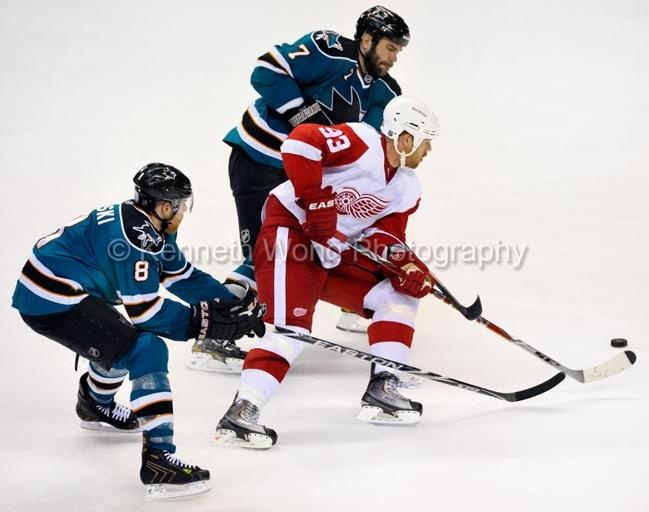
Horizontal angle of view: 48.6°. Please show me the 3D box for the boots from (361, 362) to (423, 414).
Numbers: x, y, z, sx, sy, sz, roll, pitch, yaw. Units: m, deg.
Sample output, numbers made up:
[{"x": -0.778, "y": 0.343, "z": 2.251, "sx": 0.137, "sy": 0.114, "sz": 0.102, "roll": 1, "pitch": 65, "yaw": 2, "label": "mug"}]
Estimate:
[{"x": 0.348, "y": 0.675, "z": 3.643, "sx": 0.291, "sy": 0.211, "sz": 0.188, "roll": 5, "pitch": 13, "yaw": 22, "label": "boots"}]

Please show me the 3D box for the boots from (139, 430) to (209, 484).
[{"x": -0.633, "y": 0.869, "z": 3.022, "sx": 0.330, "sy": 0.216, "sz": 0.113, "roll": 12, "pitch": -22, "yaw": -36, "label": "boots"}]

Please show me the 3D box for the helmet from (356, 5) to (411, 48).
[{"x": 0.334, "y": -1.332, "z": 4.257, "sx": 0.291, "sy": 0.262, "sz": 0.230, "roll": 20, "pitch": 19, "yaw": 24, "label": "helmet"}]

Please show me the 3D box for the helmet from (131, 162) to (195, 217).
[{"x": -0.751, "y": -0.310, "z": 3.297, "sx": 0.251, "sy": 0.225, "sz": 0.206, "roll": -6, "pitch": 18, "yaw": -26, "label": "helmet"}]

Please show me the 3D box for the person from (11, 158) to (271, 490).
[{"x": -0.806, "y": 0.231, "z": 3.329, "sx": 0.992, "sy": 1.304, "sz": 0.931, "roll": 6, "pitch": 14, "yaw": 24, "label": "person"}]

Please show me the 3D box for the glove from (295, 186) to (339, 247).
[{"x": -0.046, "y": -0.210, "z": 3.559, "sx": 0.194, "sy": 0.267, "sz": 0.105, "roll": 1, "pitch": 3, "yaw": 16, "label": "glove"}]

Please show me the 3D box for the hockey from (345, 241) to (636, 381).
[{"x": 1.102, "y": 0.391, "z": 4.778, "sx": 1.396, "sy": 0.158, "sz": 0.192, "roll": 30, "pitch": -10, "yaw": 4, "label": "hockey"}]

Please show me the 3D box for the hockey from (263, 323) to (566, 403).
[{"x": 0.504, "y": 0.543, "z": 3.854, "sx": 1.554, "sy": 0.203, "sz": 0.169, "roll": 10, "pitch": -10, "yaw": 34, "label": "hockey"}]

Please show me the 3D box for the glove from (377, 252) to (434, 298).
[{"x": 0.435, "y": 0.084, "z": 3.873, "sx": 0.216, "sy": 0.283, "sz": 0.119, "roll": -34, "pitch": -8, "yaw": -11, "label": "glove"}]
